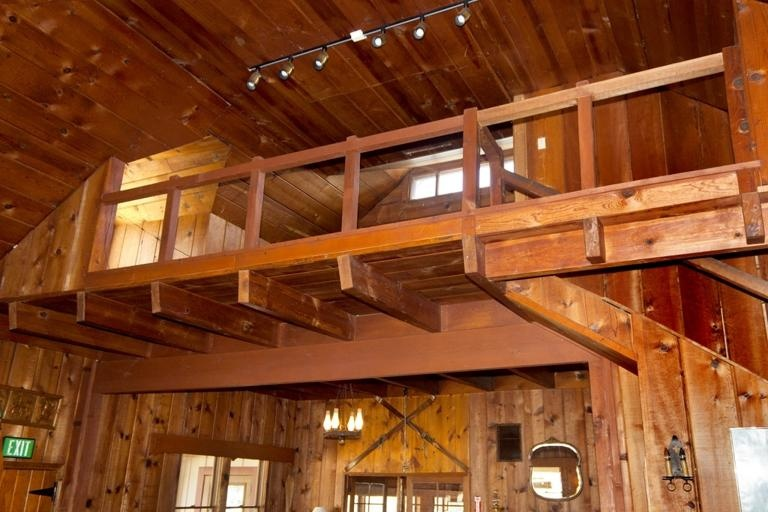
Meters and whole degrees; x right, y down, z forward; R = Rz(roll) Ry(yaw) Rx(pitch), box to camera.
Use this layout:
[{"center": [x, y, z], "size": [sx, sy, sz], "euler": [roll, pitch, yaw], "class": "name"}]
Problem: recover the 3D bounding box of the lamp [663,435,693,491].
[{"center": [2.487, 1.743, 5.589], "size": [0.225, 0.441, 0.194], "euler": [-8, -27, 19], "class": "lamp"}]
